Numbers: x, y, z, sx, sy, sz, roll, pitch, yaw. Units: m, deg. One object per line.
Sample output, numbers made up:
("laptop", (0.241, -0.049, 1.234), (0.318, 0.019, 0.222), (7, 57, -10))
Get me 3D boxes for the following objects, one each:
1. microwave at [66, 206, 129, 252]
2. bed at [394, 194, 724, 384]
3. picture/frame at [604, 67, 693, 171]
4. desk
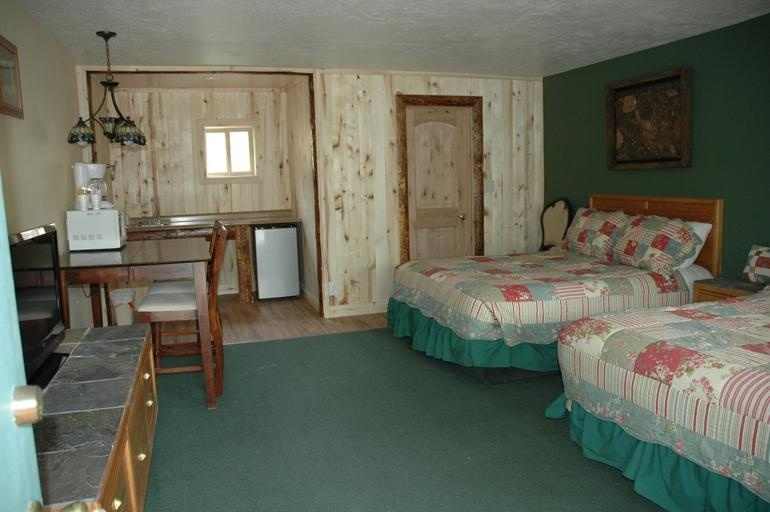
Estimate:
("microwave", (-2.410, -0.236, 4.562), (0.410, 0.237, 0.398), (-1, 7, -11))
("bed", (1.621, 0.152, 5.391), (2.698, 1.437, 1.955), (-4, 8, -21))
("picture/frame", (2.729, -1.408, 5.489), (0.121, 1.069, 1.196), (-6, 9, -28))
("desk", (-1.946, 0.233, 4.573), (1.398, 1.280, 1.778), (-4, 9, -19))
